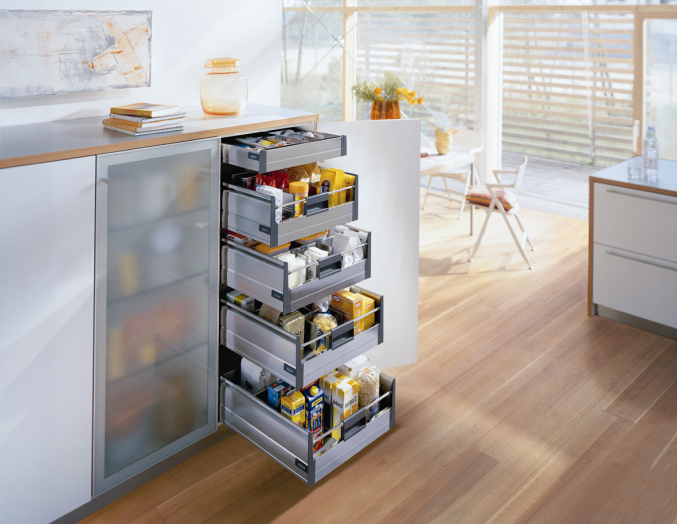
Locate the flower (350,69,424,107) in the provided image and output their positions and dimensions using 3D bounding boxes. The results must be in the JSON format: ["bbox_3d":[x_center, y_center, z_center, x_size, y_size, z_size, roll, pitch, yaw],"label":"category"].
[{"bbox_3d":[0.359,-1.127,3.375,0.412,0.207,0.407,-2,13,-10],"label":"flower"}]

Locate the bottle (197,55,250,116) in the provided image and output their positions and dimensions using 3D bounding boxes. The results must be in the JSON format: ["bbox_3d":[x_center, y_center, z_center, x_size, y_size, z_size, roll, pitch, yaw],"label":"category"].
[{"bbox_3d":[-0.526,-0.797,2.360,0.259,0.282,0.257,-9,19,-34],"label":"bottle"}]

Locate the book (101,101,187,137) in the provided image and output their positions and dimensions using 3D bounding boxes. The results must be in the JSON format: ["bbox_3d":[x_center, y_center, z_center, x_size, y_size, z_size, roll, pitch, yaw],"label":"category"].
[{"bbox_3d":[-0.773,-0.563,2.016,0.319,0.091,0.203,-3,24,-7],"label":"book"}]
